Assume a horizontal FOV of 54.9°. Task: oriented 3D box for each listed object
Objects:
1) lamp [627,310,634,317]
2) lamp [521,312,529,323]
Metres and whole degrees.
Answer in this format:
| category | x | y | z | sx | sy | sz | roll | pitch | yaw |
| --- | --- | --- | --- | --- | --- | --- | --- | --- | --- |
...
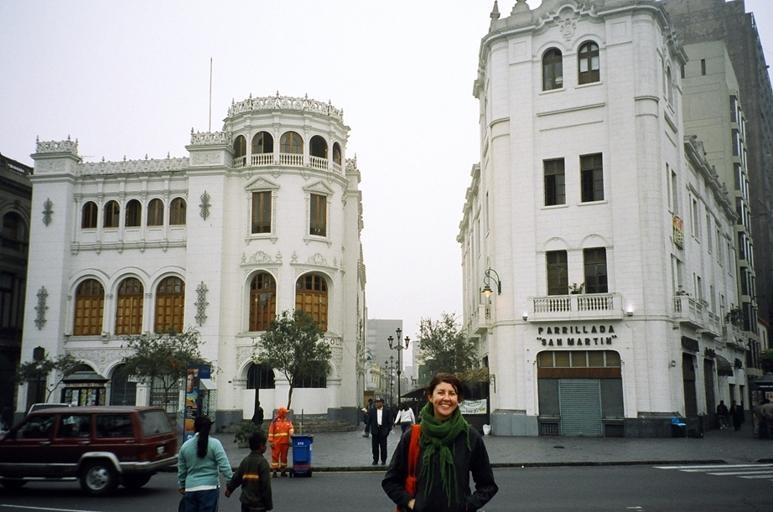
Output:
| category | x | y | z | sx | sy | sz | roll | pitch | yaw |
| --- | --- | --- | --- | --- | --- | --- | --- | --- | --- |
| lamp | 14.719 | 3.498 | 45.130 | 0.434 | 0.424 | 0.312 | -1 | -12 | 8 |
| lamp | 8.665 | 3.839 | 46.558 | 0.445 | 0.619 | 0.235 | -8 | -15 | 24 |
